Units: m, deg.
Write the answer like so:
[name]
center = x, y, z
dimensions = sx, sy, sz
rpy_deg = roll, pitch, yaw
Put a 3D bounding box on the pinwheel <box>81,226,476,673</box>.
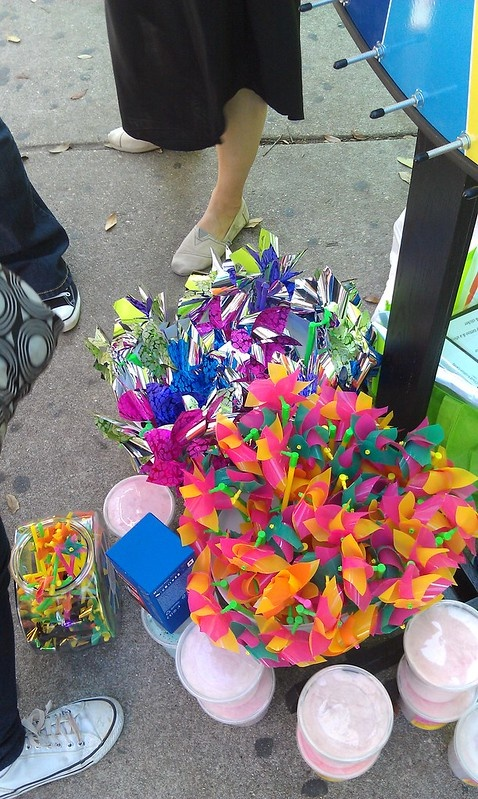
[pinwheel]
center = 0.011, 0.056, 1.276
dimensions = 0.657, 0.427, 0.944
rpy_deg = -16, 61, -7
